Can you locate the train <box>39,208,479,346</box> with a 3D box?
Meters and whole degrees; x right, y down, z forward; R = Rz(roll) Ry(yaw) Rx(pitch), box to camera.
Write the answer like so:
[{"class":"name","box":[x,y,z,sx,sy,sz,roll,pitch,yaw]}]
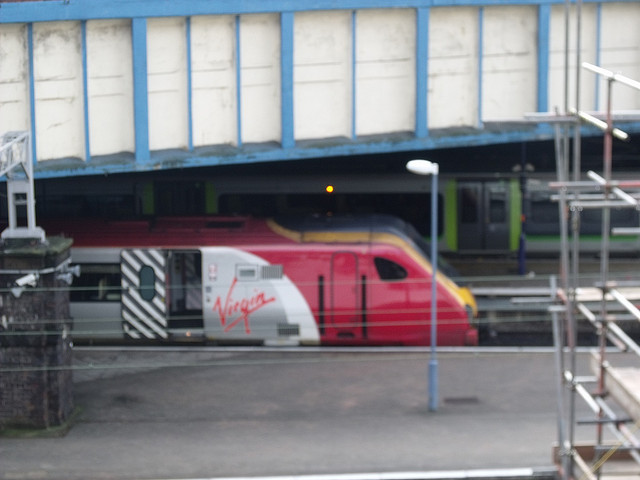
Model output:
[{"class":"train","box":[-1.209,1.016,39.674,12.600,3.008,3.114,-2,10,34]}]
